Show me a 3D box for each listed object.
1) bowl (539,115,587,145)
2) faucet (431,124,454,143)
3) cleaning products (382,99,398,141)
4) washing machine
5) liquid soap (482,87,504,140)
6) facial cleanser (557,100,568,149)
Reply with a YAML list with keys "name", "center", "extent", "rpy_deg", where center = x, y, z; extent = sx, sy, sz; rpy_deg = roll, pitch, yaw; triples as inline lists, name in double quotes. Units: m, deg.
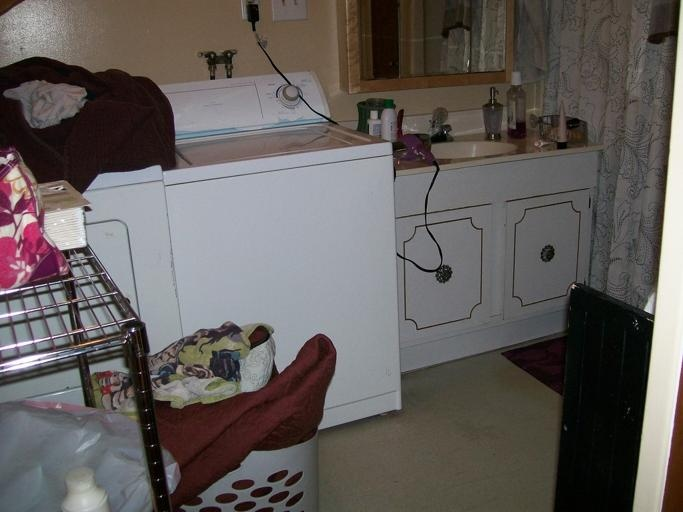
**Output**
- name: "bowl"
  center: [1.003, -0.568, 2.398]
  extent: [0.183, 0.091, 0.150]
  rpy_deg: [-3, 12, -17]
- name: "faucet"
  center: [0.469, -0.567, 2.471]
  extent: [0.096, 0.084, 0.033]
  rpy_deg: [-12, -5, 0]
- name: "cleaning products"
  center: [0.196, -0.553, 2.184]
  extent: [0.067, 0.171, 0.068]
  rpy_deg: [25, 42, 36]
- name: "washing machine"
  center: [-0.234, -0.003, 2.019]
  extent: [0.776, 1.224, 0.582]
  rpy_deg: [-10, 19, -18]
- name: "liquid soap"
  center: [0.722, -0.682, 2.539]
  extent: [0.095, 0.229, 0.191]
  rpy_deg: [2, 19, 15]
- name: "facial cleanser"
  center: [0.957, -0.551, 2.297]
  extent: [0.059, 0.225, 0.063]
  rpy_deg: [11, 47, 33]
